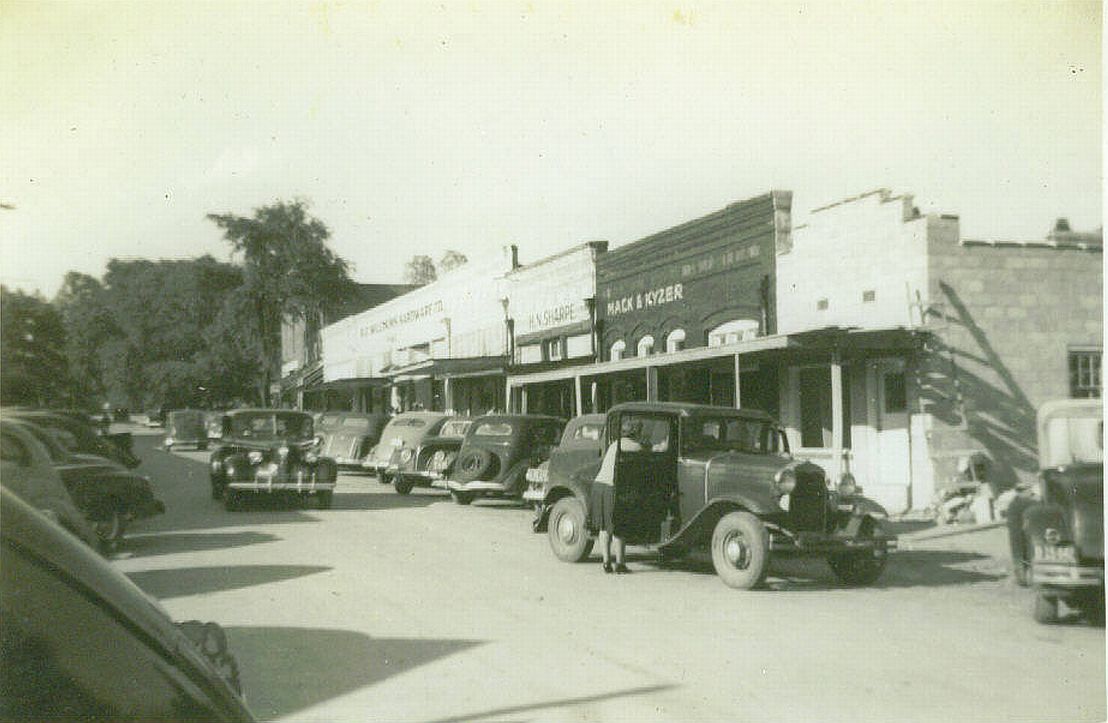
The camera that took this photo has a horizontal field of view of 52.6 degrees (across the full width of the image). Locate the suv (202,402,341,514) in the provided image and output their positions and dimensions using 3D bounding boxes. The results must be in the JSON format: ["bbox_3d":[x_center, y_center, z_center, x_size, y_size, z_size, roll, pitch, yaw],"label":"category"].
[{"bbox_3d":[-5.861,1.822,22.867,1.672,1.402,3.014,3,-6,-23],"label":"suv"}]

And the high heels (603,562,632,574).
[{"bbox_3d":[0.938,3.006,16.274,0.435,0.184,0.149,0,-4,-6],"label":"high heels"}]

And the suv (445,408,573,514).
[{"bbox_3d":[-0.894,1.957,23.680,2.554,1.275,1.397,-2,2,-44],"label":"suv"}]

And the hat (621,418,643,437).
[{"bbox_3d":[1.127,0.951,16.229,0.282,0.295,0.217,-4,10,7],"label":"hat"}]

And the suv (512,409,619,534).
[{"bbox_3d":[0.269,1.634,18.242,2.128,1.207,1.292,0,-1,-5],"label":"suv"}]

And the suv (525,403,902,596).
[{"bbox_3d":[2.207,1.913,16.207,5.122,2.554,1.972,3,6,30],"label":"suv"}]

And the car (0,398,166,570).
[{"bbox_3d":[-6.691,2.079,17.073,2.896,1.350,2.005,24,7,23],"label":"car"}]

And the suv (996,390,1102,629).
[{"bbox_3d":[6.349,1.864,14.007,1.018,2.665,1.490,2,6,15],"label":"suv"}]
